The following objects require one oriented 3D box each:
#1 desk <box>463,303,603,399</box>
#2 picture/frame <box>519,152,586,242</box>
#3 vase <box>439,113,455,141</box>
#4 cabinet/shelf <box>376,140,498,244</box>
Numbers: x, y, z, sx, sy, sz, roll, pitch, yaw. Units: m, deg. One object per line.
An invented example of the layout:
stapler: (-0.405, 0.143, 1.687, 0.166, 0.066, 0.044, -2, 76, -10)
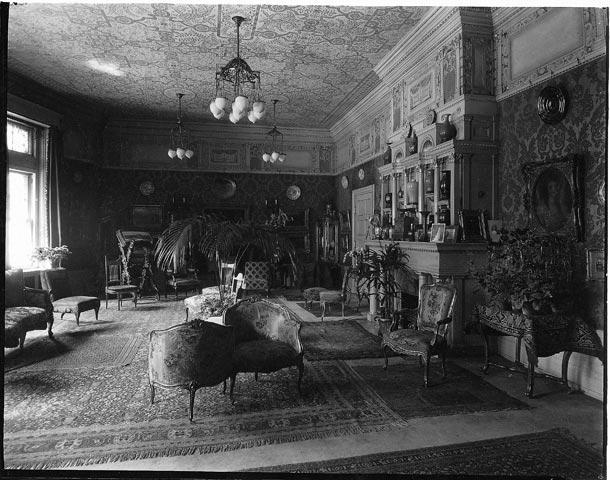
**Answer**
desk: (2.625, 1.101, 5.402, 0.812, 0.794, 1.200, 1, -4, -5)
picture/frame: (2.942, -0.497, 5.501, 0.152, 1.265, 1.072, 0, -1, -15)
vase: (2.062, -1.625, 6.749, 0.248, 0.394, 0.180, 7, 12, 37)
cabinet/shelf: (1.970, -0.760, 7.405, 0.730, 1.560, 2.359, -4, 10, -20)
